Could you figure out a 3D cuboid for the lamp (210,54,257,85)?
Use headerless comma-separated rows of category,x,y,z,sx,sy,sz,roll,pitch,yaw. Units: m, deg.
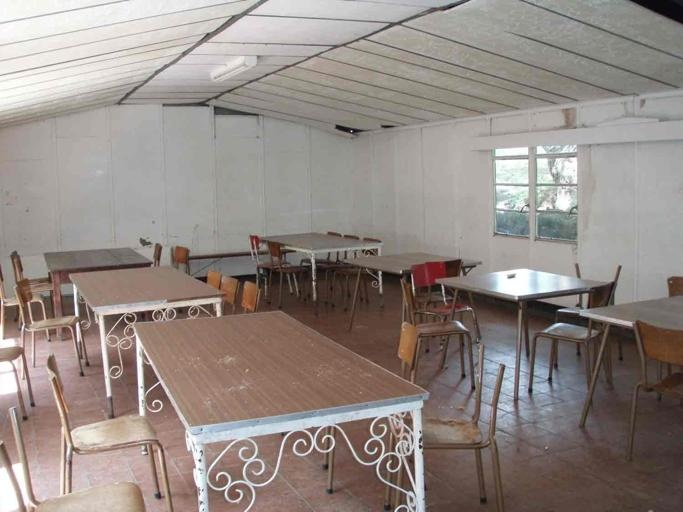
lamp,-1.466,-2.527,6.924,0.212,0.184,1.184,-6,5,-32
